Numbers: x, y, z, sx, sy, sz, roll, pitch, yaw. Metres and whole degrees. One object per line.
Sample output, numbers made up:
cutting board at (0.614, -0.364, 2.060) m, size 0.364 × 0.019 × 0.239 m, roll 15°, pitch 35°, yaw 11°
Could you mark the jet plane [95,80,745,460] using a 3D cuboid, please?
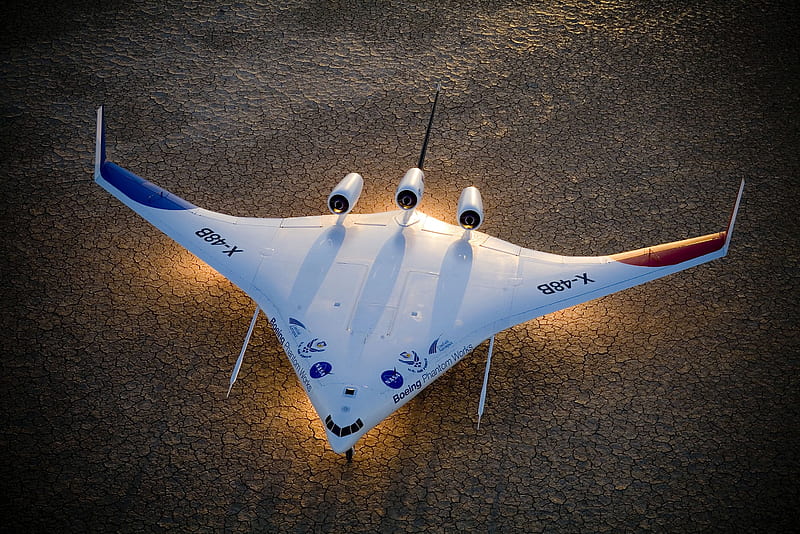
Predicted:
jet plane at (-0.120, -0.683, 20.486) m, size 10.714 × 2.166 × 9.189 m, roll -36°, pitch 76°, yaw -16°
